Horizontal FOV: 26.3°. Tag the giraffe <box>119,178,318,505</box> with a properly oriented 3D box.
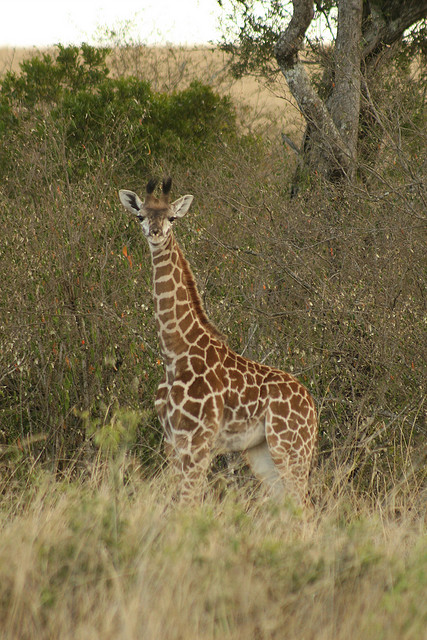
[{"bbox_3d":[0.022,0.451,5.646,1.164,0.633,2.946,7,55,-8],"label":"giraffe"}]
